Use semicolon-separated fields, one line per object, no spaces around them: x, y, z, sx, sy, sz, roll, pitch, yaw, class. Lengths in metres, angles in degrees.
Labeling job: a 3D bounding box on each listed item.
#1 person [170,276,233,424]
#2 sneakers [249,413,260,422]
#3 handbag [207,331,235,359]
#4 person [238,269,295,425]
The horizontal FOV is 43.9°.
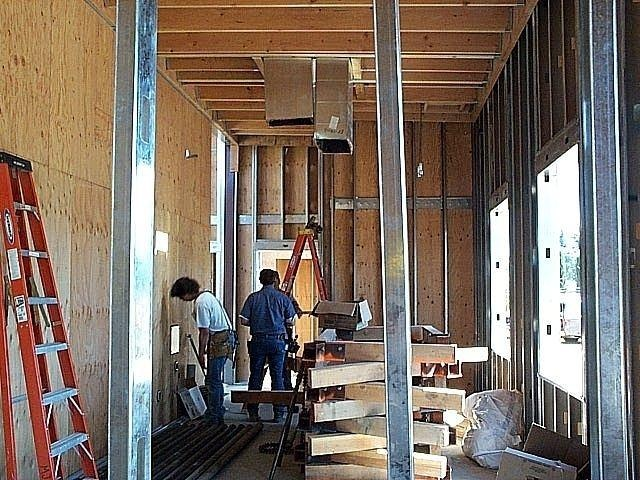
-1.203;1.142;8.402;0.629;1.521;0.403;0;-5;-9;person
-0.693;1.867;8.481;0.121;0.099;0.176;-1;-5;-5;sneakers
-1.013;1.087;8.419;0.258;0.309;0.223;-8;-5;21;handbag
-0.556;1.031;8.763;0.520;1.831;0.498;0;23;-6;person
